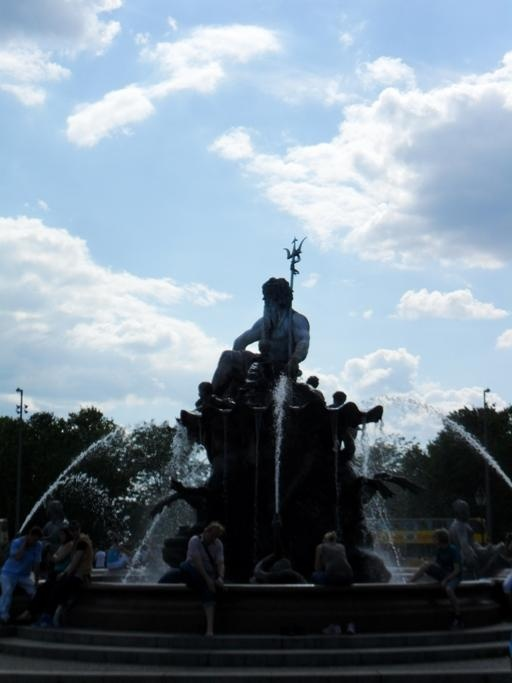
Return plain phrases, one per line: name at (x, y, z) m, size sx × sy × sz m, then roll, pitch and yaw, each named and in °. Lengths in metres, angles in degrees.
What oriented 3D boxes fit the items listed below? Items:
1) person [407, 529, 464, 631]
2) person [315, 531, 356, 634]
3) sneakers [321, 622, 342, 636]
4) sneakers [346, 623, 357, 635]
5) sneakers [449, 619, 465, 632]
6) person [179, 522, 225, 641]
person at (2.099, 2.669, 9.618) m, size 0.505 × 1.039 × 0.765 m, roll 0°, pitch -11°, yaw 12°
person at (0.851, 2.566, 9.066) m, size 0.464 × 1.001 × 0.717 m, roll 2°, pitch -10°, yaw 4°
sneakers at (0.798, 2.963, 8.688) m, size 0.209 × 0.095 × 0.200 m, roll 2°, pitch -11°, yaw 2°
sneakers at (0.997, 2.968, 8.751) m, size 0.099 × 0.109 × 0.158 m, roll 2°, pitch -11°, yaw 5°
sneakers at (2.242, 3.080, 9.244) m, size 0.293 × 0.117 × 0.113 m, roll 13°, pitch -15°, yaw -43°
person at (-0.554, 2.420, 8.686) m, size 0.439 × 1.113 × 0.489 m, roll 3°, pitch -10°, yaw -4°
